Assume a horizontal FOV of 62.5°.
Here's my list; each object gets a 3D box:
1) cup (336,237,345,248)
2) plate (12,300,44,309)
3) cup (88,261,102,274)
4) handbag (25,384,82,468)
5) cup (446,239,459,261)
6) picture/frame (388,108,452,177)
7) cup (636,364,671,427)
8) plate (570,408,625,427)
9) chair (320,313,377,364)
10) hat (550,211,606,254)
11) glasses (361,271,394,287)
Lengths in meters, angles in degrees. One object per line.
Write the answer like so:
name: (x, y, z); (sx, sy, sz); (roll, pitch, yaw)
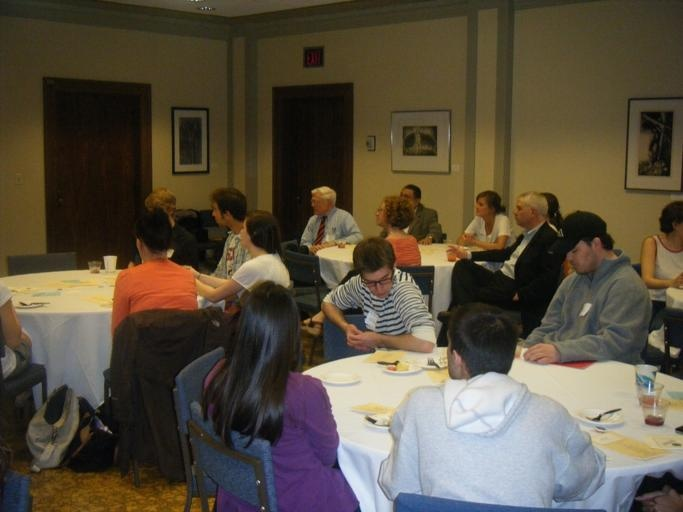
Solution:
cup: (0.001, -0.150, 6.176); (0.078, 0.065, 0.086); (1, 10, 0)
plate: (-2.087, 0.328, 3.752); (0.117, 0.044, 0.091); (3, 0, -4)
cup: (-2.090, 0.094, 4.728); (0.129, 0.128, 0.149); (1, -4, -11)
handbag: (-1.697, 1.023, 3.377); (0.306, 0.506, 0.142); (9, 5, 32)
cup: (1.056, -0.039, 5.377); (0.101, 0.196, 0.179); (0, 0, 2)
picture/frame: (1.112, -1.568, 7.669); (0.822, 0.972, 0.030); (3, 4, 31)
cup: (1.211, 0.550, 2.233); (0.099, 0.099, 0.239); (-2, 26, 8)
plate: (1.009, 0.621, 2.191); (0.182, 0.050, 0.127); (-5, 11, -23)
chair: (0.053, 0.481, 3.344); (0.213, 0.344, 0.252); (-1, 3, -5)
hat: (1.236, -0.132, 2.968); (0.249, 0.181, 0.184); (-12, 13, -1)
glasses: (0.203, 0.128, 3.025); (0.163, 0.092, 0.088); (-1, 9, 3)
